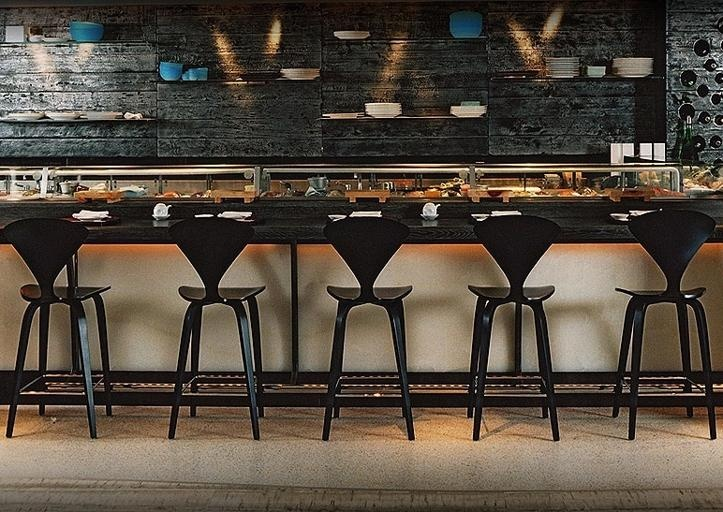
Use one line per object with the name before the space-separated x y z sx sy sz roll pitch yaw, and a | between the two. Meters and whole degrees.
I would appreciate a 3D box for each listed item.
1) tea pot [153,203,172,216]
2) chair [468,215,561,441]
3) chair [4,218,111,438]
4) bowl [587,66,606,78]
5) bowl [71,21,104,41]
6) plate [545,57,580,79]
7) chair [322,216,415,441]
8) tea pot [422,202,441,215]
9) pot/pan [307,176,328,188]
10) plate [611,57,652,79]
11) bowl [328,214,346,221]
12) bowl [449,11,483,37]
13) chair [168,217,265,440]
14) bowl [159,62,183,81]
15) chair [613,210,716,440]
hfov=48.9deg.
tea pot | -1.335 -0.313 5.374 0.127 0.079 0.084 1 -2 -12
chair | 0.931 0.454 4.912 0.579 1.347 0.696 0 -5 10
chair | -1.914 0.459 4.974 0.712 1.332 0.786 2 -5 -15
bowl | 2.144 -1.670 7.268 0.134 0.065 0.119 0 4 3
bowl | -2.572 -2.083 7.453 0.254 0.118 0.233 1 7 0
plate | 1.836 -1.723 7.293 0.363 0.193 0.194 0 5 3
chair | 0.047 0.445 4.896 0.569 1.369 0.669 0 -5 3
tea pot | 0.473 -0.315 5.409 0.115 0.104 0.177 0 -5 7
pot/pan | -0.318 -0.539 5.866 0.134 0.103 0.093 -2 10 3
plate | 2.461 -1.692 7.239 0.268 0.095 0.229 -2 7 -14
bowl | -0.158 -0.245 5.150 0.121 0.037 0.091 11 7 33
bowl | 0.965 -2.138 7.368 0.317 0.194 0.038 -1 4 -4
chair | -0.897 0.453 4.966 0.585 1.352 0.713 1 -5 -7
bowl | -1.787 -1.721 7.480 0.210 0.121 0.195 3 12 -1
chair | 1.888 0.409 4.950 0.641 1.440 0.732 -1 -5 15
